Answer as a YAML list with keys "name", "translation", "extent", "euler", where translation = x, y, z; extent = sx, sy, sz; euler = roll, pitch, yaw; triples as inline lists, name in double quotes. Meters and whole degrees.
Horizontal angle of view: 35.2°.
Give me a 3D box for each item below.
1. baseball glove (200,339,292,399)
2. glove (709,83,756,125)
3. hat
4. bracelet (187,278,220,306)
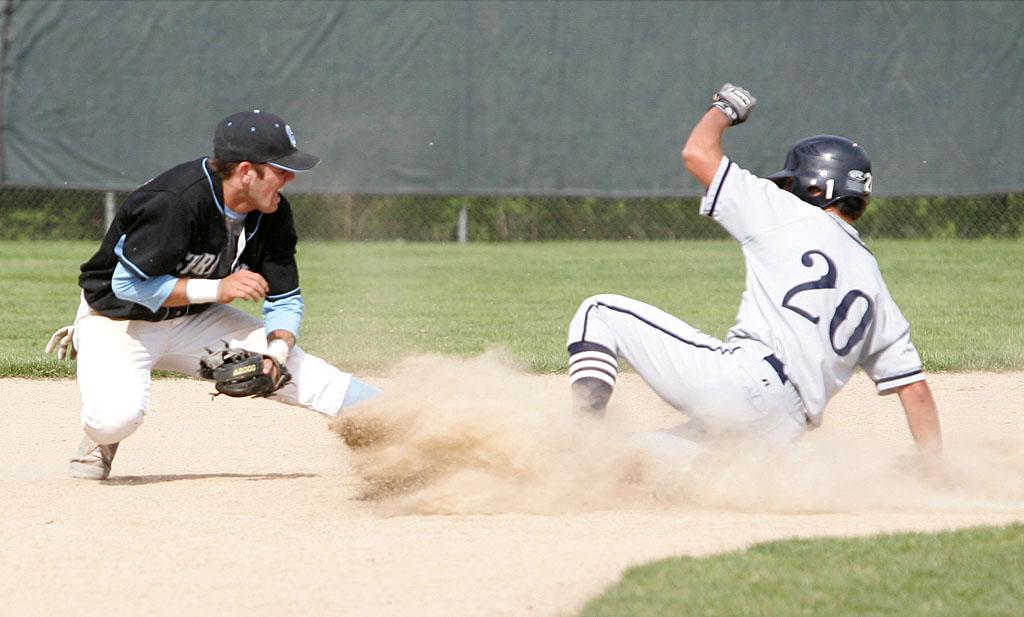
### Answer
- name: "baseball glove"
  translation: [-2.052, 0.461, 12.439]
  extent: [0.607, 0.263, 0.428]
  euler: [14, 25, 31]
- name: "glove"
  translation: [1.712, -1.588, 12.323]
  extent: [0.159, 0.308, 0.368]
  euler: [-46, -8, 20]
- name: "hat"
  translation: [-1.911, -1.319, 12.544]
  extent: [0.739, 0.349, 0.453]
  euler: [1, 12, -7]
- name: "bracelet"
  translation: [-2.378, -0.157, 12.398]
  extent: [0.262, 0.181, 0.171]
  euler: [0, 7, -4]
